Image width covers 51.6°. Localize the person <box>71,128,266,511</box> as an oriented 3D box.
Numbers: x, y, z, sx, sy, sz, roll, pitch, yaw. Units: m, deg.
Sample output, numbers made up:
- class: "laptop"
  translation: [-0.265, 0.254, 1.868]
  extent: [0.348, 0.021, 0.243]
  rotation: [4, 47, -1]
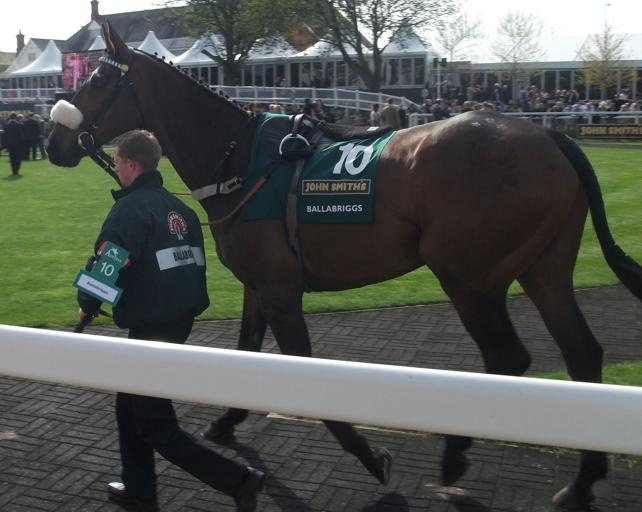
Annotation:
- class: "person"
  translation: [-0.654, 0.112, 2.570]
  extent: [0.541, 1.362, 1.330]
  rotation: [-1, 2, -18]
